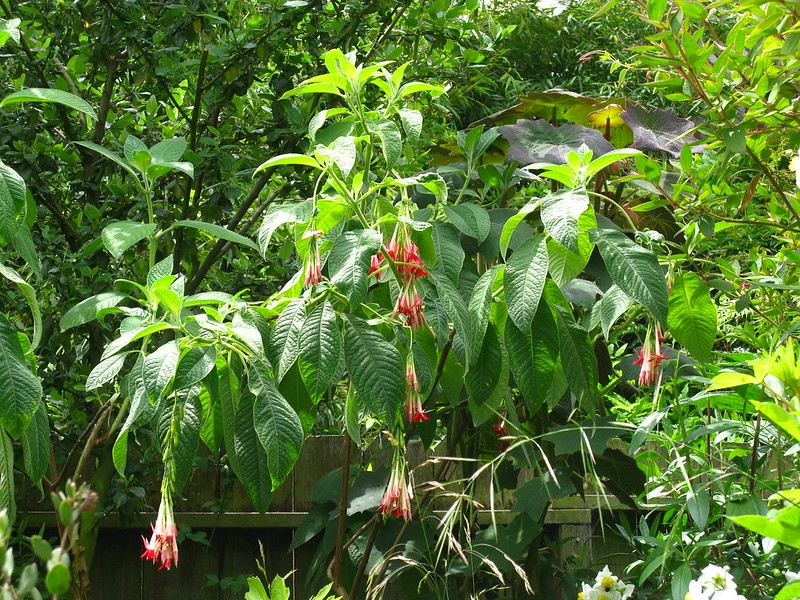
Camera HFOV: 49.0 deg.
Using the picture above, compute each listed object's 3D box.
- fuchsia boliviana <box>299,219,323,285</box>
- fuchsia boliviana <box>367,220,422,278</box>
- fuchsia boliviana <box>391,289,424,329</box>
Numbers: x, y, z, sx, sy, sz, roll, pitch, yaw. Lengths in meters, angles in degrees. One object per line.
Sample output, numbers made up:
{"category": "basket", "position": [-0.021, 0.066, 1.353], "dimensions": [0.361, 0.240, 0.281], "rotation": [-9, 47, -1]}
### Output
{"category": "fuchsia boliviana", "position": [-0.186, -0.086, 1.867], "dimensions": [0.055, 0.123, 0.118], "rotation": [10, -1, -6]}
{"category": "fuchsia boliviana", "position": [-0.012, -0.092, 1.867], "dimensions": [0.111, 0.122, 0.114], "rotation": [3, -30, -3]}
{"category": "fuchsia boliviana", "position": [0.017, 0.017, 1.908], "dimensions": [0.071, 0.074, 0.137], "rotation": [2, 22, 2]}
